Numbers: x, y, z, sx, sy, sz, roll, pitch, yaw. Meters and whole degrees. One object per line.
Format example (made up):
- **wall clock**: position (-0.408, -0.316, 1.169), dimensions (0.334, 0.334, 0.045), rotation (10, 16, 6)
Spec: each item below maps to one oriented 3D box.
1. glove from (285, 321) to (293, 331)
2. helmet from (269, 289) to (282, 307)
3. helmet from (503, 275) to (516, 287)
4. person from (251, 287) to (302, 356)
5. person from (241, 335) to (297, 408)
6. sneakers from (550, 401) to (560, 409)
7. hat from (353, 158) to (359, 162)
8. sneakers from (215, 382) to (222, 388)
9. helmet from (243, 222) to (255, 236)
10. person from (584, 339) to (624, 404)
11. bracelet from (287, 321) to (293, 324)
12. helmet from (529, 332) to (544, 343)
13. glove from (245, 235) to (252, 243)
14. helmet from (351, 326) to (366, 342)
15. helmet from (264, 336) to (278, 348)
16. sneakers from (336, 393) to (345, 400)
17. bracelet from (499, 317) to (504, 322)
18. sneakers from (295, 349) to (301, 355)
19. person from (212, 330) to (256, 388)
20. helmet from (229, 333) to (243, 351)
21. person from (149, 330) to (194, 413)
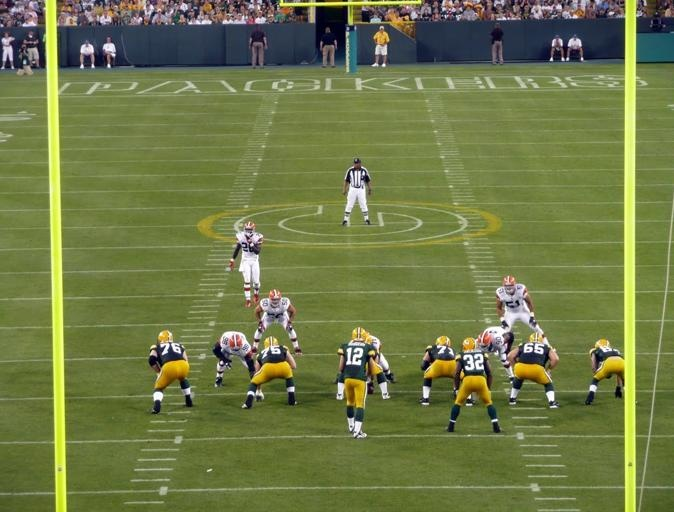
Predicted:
- **glove**: position (-0.956, 1.446, 32.198), dimensions (0.150, 0.071, 0.195), rotation (1, 38, -1)
- **helmet**: position (-1.235, 0.857, 31.932), dimensions (0.261, 0.302, 0.331), rotation (-3, 9, -8)
- **helmet**: position (3.596, 0.531, 32.090), dimensions (0.216, 0.251, 0.294), rotation (-1, 15, 14)
- **person**: position (-1.214, 1.369, 32.149), dimensions (1.111, 1.299, 0.766), rotation (0, 9, 4)
- **person**: position (-1.242, 2.126, 30.035), dimensions (0.941, 0.782, 1.428), rotation (-4, 24, -7)
- **sneakers**: position (4.158, 2.851, 29.644), dimensions (0.273, 0.118, 0.089), rotation (-5, 8, -31)
- **hat**: position (0.563, -2.493, 40.570), dimensions (0.244, 0.100, 0.352), rotation (-1, 5, 3)
- **sneakers**: position (-2.321, 2.563, 30.758), dimensions (0.093, 0.090, 0.210), rotation (1, -6, -7)
- **helmet**: position (-1.950, -0.605, 35.275), dimensions (0.311, 0.358, 0.422), rotation (0, 9, 3)
- **person**: position (5.205, 2.206, 29.981), dimensions (0.727, 1.209, 1.070), rotation (-1, 9, 11)
- **bracelet**: position (-0.948, 1.389, 32.169), dimensions (0.058, 0.014, 0.059), rotation (-43, 11, 51)
- **helmet**: position (3.872, 1.576, 29.736), dimensions (0.172, 0.195, 0.206), rotation (1, 10, 12)
- **glove**: position (-1.963, -0.374, 35.175), dimensions (0.119, 0.152, 0.147), rotation (0, 45, 1)
- **helmet**: position (0.453, 1.484, 29.260), dimensions (0.221, 0.222, 0.276), rotation (1, 0, -2)
- **helmet**: position (-1.255, 1.708, 29.861), dimensions (0.260, 0.283, 0.344), rotation (1, 11, 1)
- **sneakers**: position (0.101, 2.739, 30.163), dimensions (0.146, 0.112, 0.262), rotation (0, 0, 3)
- **bracelet**: position (3.474, 1.326, 32.238), dimensions (0.077, 0.066, 0.075), rotation (1, -31, -4)
- **sneakers**: position (-0.766, 1.996, 32.206), dimensions (0.090, 0.139, 0.063), rotation (2, -2, -9)
- **person**: position (-2.032, 2.108, 30.956), dimensions (0.575, 0.792, 1.066), rotation (-9, -34, -13)
- **helmet**: position (-1.942, 1.679, 30.211), dimensions (0.228, 0.256, 0.309), rotation (-1, 33, -6)
- **person**: position (-3.184, 2.185, 29.936), dimensions (0.789, 1.501, 1.139), rotation (-3, 9, -6)
